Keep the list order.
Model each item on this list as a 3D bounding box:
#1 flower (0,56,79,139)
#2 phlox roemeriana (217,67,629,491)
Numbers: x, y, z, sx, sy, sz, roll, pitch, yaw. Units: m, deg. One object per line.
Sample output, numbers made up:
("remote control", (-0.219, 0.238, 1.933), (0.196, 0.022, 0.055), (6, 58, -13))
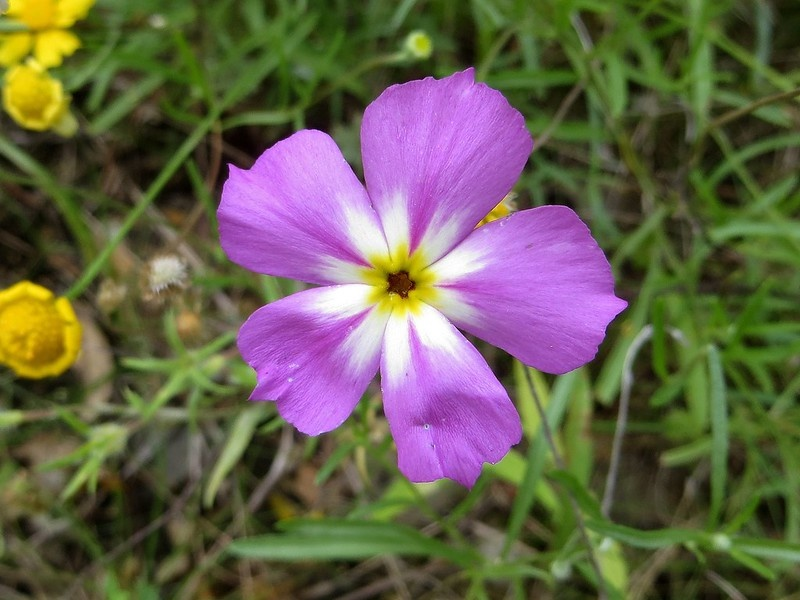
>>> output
("flower", (-1.206, -0.671, 2.413), (0.245, 0.075, 0.181), (48, 72, -22))
("phlox roemeriana", (0.011, -0.022, 2.121), (1.082, 0.216, 1.171), (-31, 87, -2))
